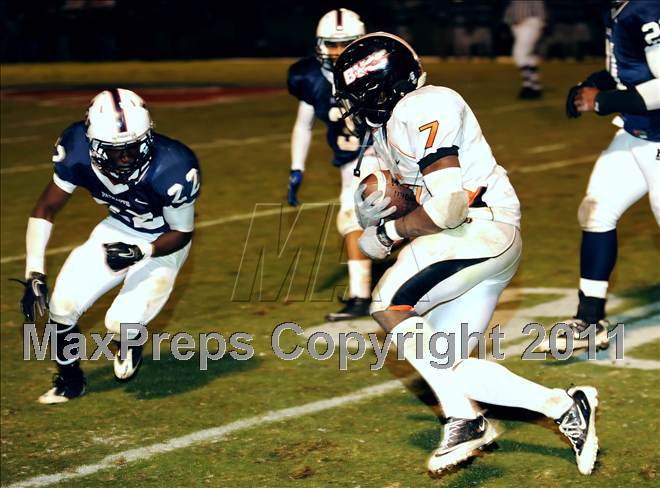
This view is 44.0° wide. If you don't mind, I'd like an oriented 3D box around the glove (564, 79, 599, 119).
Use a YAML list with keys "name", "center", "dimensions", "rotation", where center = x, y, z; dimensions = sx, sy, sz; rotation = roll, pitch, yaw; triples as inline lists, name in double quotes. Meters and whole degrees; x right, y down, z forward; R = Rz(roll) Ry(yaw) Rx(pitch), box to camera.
- name: "glove"
  center: [1.357, -0.763, 4.363]
  dimensions: [0.071, 0.208, 0.167]
  rotation: [6, 40, -45]

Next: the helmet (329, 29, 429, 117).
- name: "helmet"
  center: [0.251, -0.751, 3.655]
  dimensions: [0.438, 0.338, 0.319]
  rotation: [1, 33, 35]

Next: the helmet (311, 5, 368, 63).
- name: "helmet"
  center: [0.064, -1.361, 5.334]
  dimensions: [0.328, 0.308, 0.373]
  rotation: [-7, 28, 5]

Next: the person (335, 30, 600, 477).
- name: "person"
  center: [0.571, 0.044, 3.570]
  dimensions: [1.172, 1.894, 0.719]
  rotation: [2, 19, 20]

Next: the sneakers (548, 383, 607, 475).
- name: "sneakers"
  center: [1.098, 0.807, 3.656]
  dimensions: [0.223, 0.393, 0.146]
  rotation: [0, -9, -10]

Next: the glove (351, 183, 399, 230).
- name: "glove"
  center: [0.180, -0.171, 3.663]
  dimensions: [0.216, 0.183, 0.155]
  rotation: [-31, 4, 19]

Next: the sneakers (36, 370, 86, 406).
- name: "sneakers"
  center: [-1.397, 0.742, 4.289]
  dimensions: [0.344, 0.192, 0.115]
  rotation: [-2, 10, -24]

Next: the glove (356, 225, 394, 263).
- name: "glove"
  center: [0.198, -0.003, 3.569]
  dimensions: [0.064, 0.123, 0.156]
  rotation: [47, 38, 12]

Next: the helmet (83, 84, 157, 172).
- name: "helmet"
  center: [-1.048, -0.597, 4.149]
  dimensions: [0.352, 0.341, 0.410]
  rotation: [-4, 50, -14]

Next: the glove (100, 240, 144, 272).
- name: "glove"
  center: [-1.038, 0.058, 4.122]
  dimensions: [0.186, 0.156, 0.094]
  rotation: [-7, 18, -13]

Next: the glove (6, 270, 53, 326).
- name: "glove"
  center: [-1.520, 0.271, 4.278]
  dimensions: [0.329, 0.300, 0.145]
  rotation: [1, -5, 14]

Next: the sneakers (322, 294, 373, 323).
- name: "sneakers"
  center: [0.138, 0.411, 5.206]
  dimensions: [0.375, 0.128, 0.114]
  rotation: [-3, -2, -7]

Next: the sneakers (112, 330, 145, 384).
- name: "sneakers"
  center: [-1.068, 0.592, 4.341]
  dimensions: [0.146, 0.347, 0.164]
  rotation: [4, -6, -4]
